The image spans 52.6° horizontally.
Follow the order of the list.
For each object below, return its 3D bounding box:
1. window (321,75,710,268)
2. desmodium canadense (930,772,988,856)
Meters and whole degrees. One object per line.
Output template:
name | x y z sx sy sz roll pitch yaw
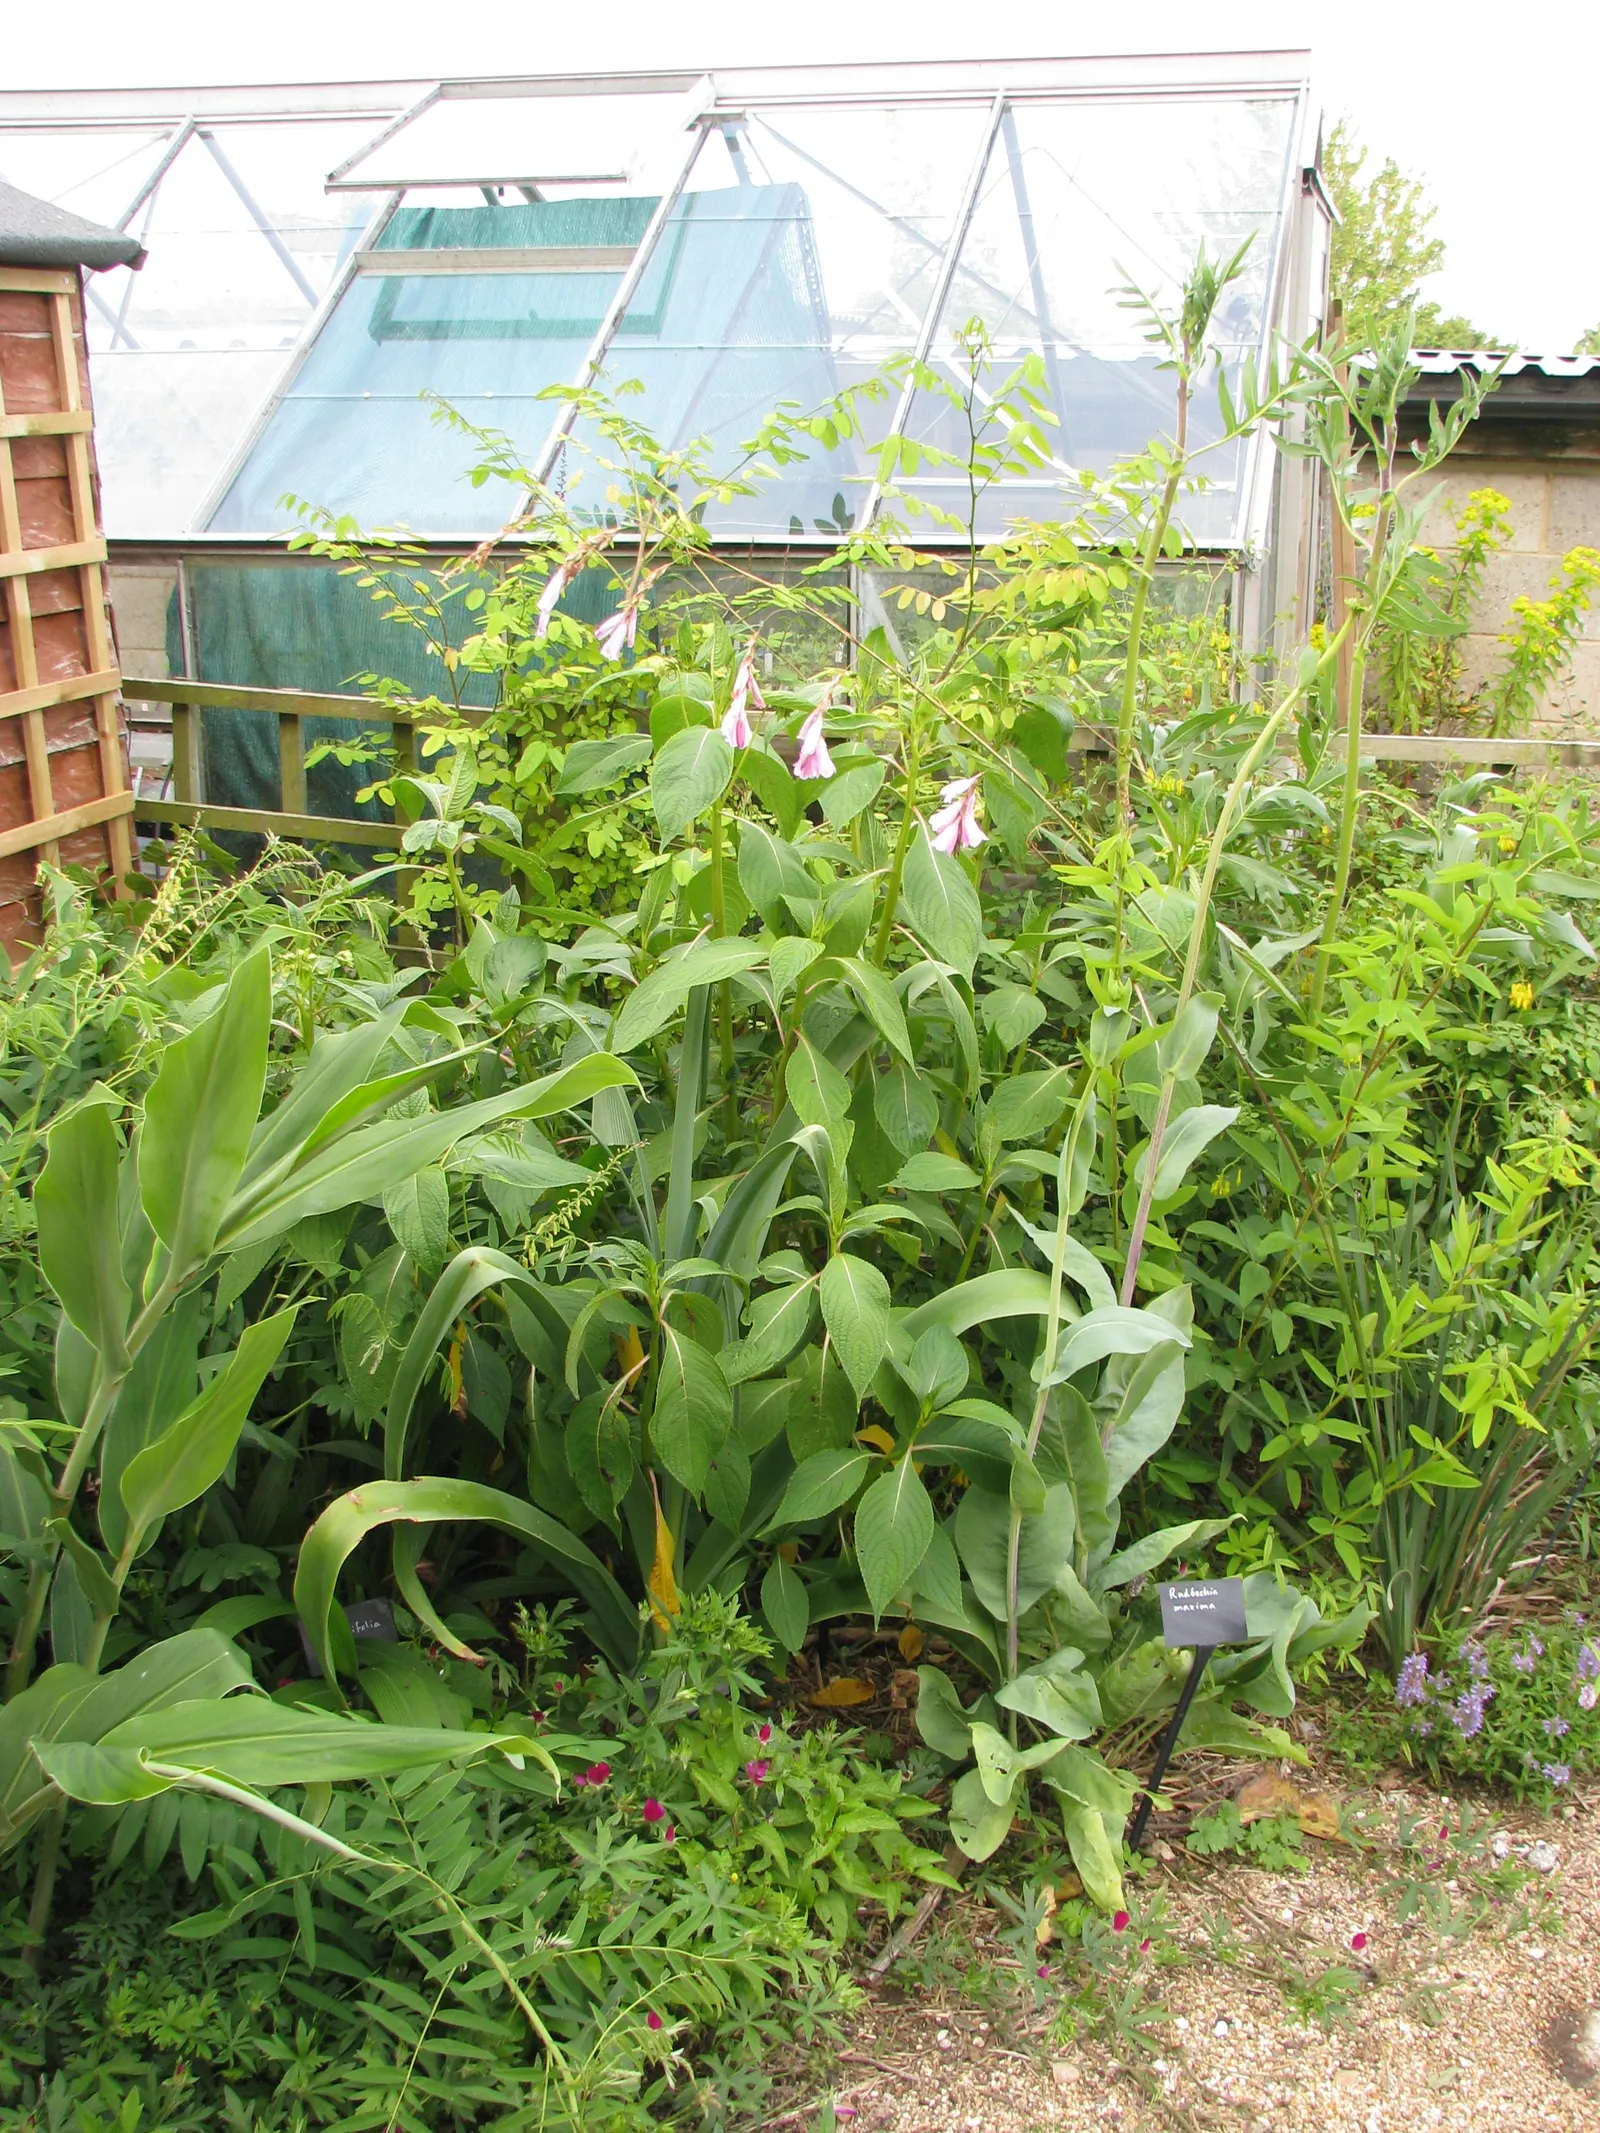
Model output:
window | -1.036 -3.366 6.100 1.912 0.142 1.278 3 44 10
desmodium canadense | 0.165 -0.284 1.782 0.070 0.095 0.050 13 -27 -32
